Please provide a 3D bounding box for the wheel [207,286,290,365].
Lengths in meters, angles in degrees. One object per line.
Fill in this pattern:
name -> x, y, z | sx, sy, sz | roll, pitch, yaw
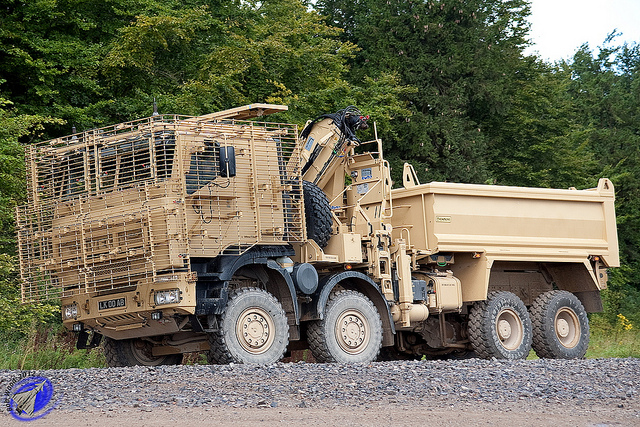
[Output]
wheel -> -1.418, 2.423, 16.149 | 1.725, 1.703, 0.558 | 10, -17, -35

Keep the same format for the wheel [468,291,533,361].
wheel -> 4.401, 2.810, 19.386 | 1.601, 1.588, 0.460 | -10, 2, -40

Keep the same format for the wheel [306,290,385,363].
wheel -> 0.578, 2.661, 17.535 | 1.815, 1.793, 0.605 | 13, -18, -33

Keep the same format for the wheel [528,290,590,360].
wheel -> 6.269, 3.013, 20.640 | 1.949, 1.938, 0.574 | 11, -17, -35
